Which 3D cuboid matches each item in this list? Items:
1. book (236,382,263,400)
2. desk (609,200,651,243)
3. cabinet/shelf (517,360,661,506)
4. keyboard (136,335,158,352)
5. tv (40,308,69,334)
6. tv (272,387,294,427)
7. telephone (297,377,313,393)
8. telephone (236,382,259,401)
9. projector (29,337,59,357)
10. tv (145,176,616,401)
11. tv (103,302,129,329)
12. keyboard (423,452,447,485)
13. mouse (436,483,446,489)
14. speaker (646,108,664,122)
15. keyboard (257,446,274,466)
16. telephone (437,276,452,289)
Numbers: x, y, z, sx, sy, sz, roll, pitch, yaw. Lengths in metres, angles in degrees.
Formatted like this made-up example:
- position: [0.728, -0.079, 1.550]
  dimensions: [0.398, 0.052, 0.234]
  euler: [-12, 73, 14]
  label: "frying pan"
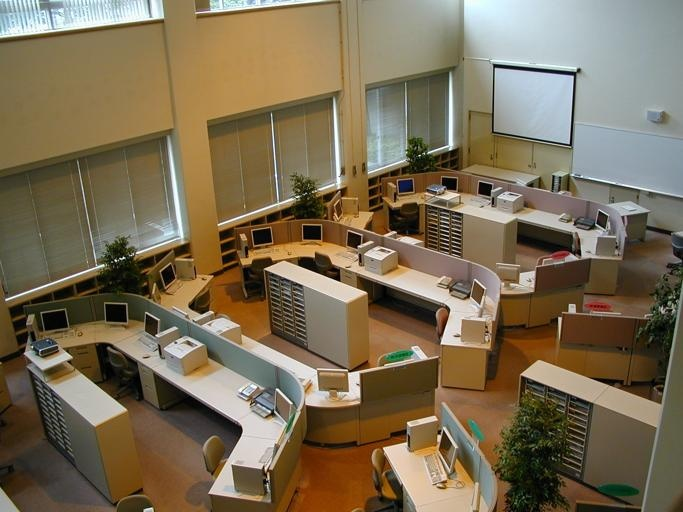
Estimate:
- position: [-1.238, 1.843, 6.899]
  dimensions: [0.174, 0.087, 0.247]
  euler: [15, 26, 31]
  label: "book"
- position: [6.329, -0.743, 11.056]
  dimensions: [0.583, 0.631, 0.653]
  euler: [-17, 34, -17]
  label: "desk"
- position: [2.885, 2.115, 5.894]
  dimensions: [1.468, 1.100, 0.429]
  euler: [24, 29, 35]
  label: "cabinet/shelf"
- position: [-3.092, 1.382, 8.068]
  dimensions: [0.216, 0.060, 0.586]
  euler: [-18, 27, -36]
  label: "keyboard"
- position: [-4.714, 1.063, 8.251]
  dimensions: [0.339, 0.380, 0.146]
  euler: [-6, 10, -25]
  label: "tv"
- position: [-0.732, 1.924, 6.362]
  dimensions: [0.057, 0.263, 0.348]
  euler: [-17, 34, -28]
  label: "tv"
- position: [-0.488, 1.793, 7.037]
  dimensions: [0.167, 0.046, 0.191]
  euler: [12, 36, 8]
  label: "telephone"
- position: [-1.249, 1.845, 6.888]
  dimensions: [0.163, 0.083, 0.232]
  euler: [13, 25, 30]
  label: "telephone"
- position: [-4.230, 1.299, 7.205]
  dimensions: [0.411, 0.130, 0.260]
  euler: [16, 28, 38]
  label: "projector"
- position: [1.434, 0.523, 9.486]
  dimensions: [6.778, 1.693, 3.799]
  euler: [3, 22, 13]
  label: "tv"
- position: [-3.754, 0.998, 8.415]
  dimensions: [0.347, 0.410, 0.140]
  euler: [2, 13, 2]
  label: "tv"
- position: [1.071, 2.433, 5.764]
  dimensions: [0.182, 0.088, 0.559]
  euler: [-7, 9, -1]
  label: "keyboard"
- position: [1.106, 2.530, 5.543]
  dimensions: [0.081, 0.032, 0.050]
  euler: [4, 32, -8]
  label: "mouse"
- position: [7.023, -3.147, 11.248]
  dimensions: [0.085, 0.234, 0.239]
  euler: [-19, 33, -38]
  label: "speaker"
- position: [-0.841, 2.288, 5.725]
  dimensions: [0.041, 0.170, 0.180]
  euler: [33, 0, -14]
  label: "keyboard"
- position: [1.901, 0.477, 9.139]
  dimensions: [0.206, 0.124, 0.294]
  euler: [16, 28, 38]
  label: "telephone"
